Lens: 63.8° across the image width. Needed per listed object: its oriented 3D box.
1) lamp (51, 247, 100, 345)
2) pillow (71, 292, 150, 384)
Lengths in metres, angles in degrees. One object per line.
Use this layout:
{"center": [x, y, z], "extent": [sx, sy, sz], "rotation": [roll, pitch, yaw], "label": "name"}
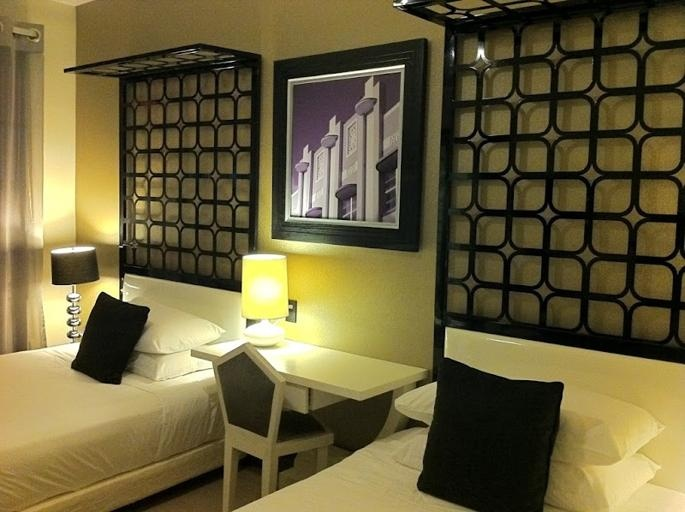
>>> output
{"center": [-2.200, 0.320, 4.496], "extent": [0.444, 0.720, 0.447], "rotation": [15, 15, 42], "label": "lamp"}
{"center": [-1.440, 0.534, 3.522], "extent": [0.503, 0.485, 0.152], "rotation": [14, -6, 37], "label": "pillow"}
